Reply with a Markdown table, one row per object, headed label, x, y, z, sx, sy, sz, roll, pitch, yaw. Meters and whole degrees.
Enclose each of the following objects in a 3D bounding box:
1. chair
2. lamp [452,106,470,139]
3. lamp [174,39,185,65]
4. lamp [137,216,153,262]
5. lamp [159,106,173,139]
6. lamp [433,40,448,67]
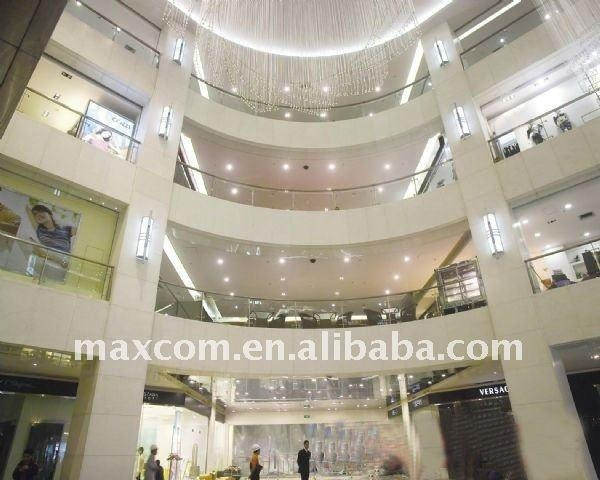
| label | x | y | z | sx | sy | sz | roll | pitch | yaw |
| --- | --- | --- | --- | --- | --- | --- | --- | --- | --- |
| chair | 2.118 | 2.304 | 12.378 | 4.314 | 0.753 | 0.375 | -3 | -5 | 9 |
| lamp | 5.329 | -3.925 | 13.067 | 0.454 | 1.267 | 0.335 | -8 | -12 | 28 |
| lamp | -4.222 | -6.597 | 13.729 | 0.335 | 1.126 | 0.267 | 3 | -12 | -26 |
| lamp | -4.323 | -0.064 | 10.919 | 0.289 | 1.291 | 0.449 | -1 | -11 | -6 |
| lamp | -4.256 | -3.706 | 12.537 | 0.266 | 1.135 | 0.449 | -6 | -11 | 19 |
| lamp | 5.110 | -6.777 | 14.293 | 0.413 | 1.081 | 0.245 | -7 | -12 | 23 |
